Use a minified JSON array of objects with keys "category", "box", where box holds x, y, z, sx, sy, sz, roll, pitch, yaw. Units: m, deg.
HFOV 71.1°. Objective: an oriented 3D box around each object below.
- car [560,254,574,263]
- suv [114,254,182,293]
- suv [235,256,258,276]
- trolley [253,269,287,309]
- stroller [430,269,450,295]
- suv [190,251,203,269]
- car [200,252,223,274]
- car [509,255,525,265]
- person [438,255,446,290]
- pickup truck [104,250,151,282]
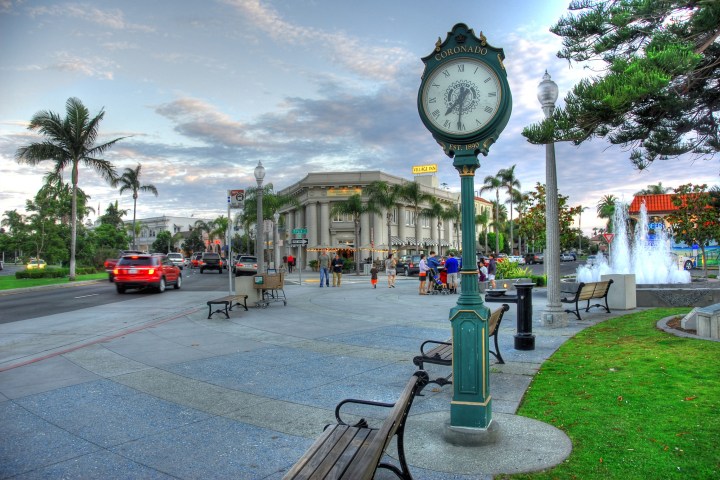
[{"category":"car","box":[34.306,3.035,83.036,1.532,1.174,2.564,-5,-8,43]},{"category":"suv","box":[-10.035,1.564,24.520,1.560,1.134,3.212,0,1,6]},{"category":"suv","box":[-8.087,1.918,35.952,1.332,0.997,2.760,1,4,-13]},{"category":"trolley","box":[-3.171,1.715,17.717,0.783,1.230,1.151,-2,-2,31]},{"category":"stroller","box":[3.741,1.969,23.262,0.971,1.175,0.969,2,-4,14]},{"category":"suv","box":[-19.913,2.488,61.360,1.477,1.354,2.384,-2,13,-20]},{"category":"car","box":[-13.533,1.941,46.232,1.280,1.108,2.701,0,3,-11]},{"category":"car","box":[15.181,1.924,48.221,1.237,0.846,2.606,0,5,8]},{"category":"person","box":[4.089,1.629,24.809,0.593,1.347,1.021,0,0,12]},{"category":"pickup truck","box":[-13.078,1.466,28.057,2.027,1.640,3.566,0,2,10]}]
